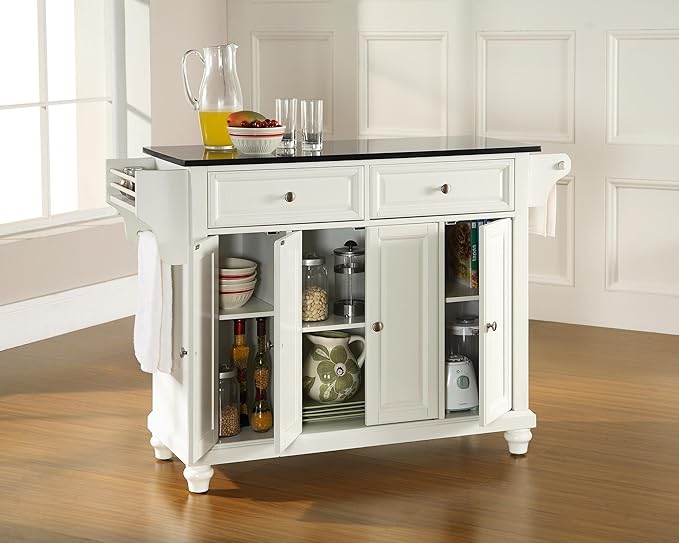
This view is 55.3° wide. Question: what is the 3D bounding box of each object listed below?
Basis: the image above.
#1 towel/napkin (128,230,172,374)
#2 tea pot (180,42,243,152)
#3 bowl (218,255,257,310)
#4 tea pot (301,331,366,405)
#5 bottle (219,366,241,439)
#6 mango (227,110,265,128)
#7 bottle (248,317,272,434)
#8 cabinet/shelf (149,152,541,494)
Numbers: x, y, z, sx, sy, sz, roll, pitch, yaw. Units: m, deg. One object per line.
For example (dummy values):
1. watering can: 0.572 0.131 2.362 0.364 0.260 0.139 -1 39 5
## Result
1. towel/napkin: -0.614 0.101 2.116 0.101 0.453 0.309 -7 13 -33
2. tea pot: -0.444 -0.620 2.287 0.197 0.369 0.349 -3 11 -13
3. bowl: -0.352 0.040 2.247 0.145 0.118 0.163 0 9 2
4. tea pot: -0.021 0.351 2.414 0.274 0.261 0.216 2 6 -19
5. bottle: -0.372 0.429 2.177 0.060 0.228 0.130 0 11 0
6. mango: -0.317 -0.511 2.168 0.138 0.055 0.116 0 11 1
7. bottle: -0.281 0.334 2.263 0.078 0.382 0.241 -2 11 -8
8. cabinet/shelf: 0.051 0.136 2.291 1.425 1.072 0.733 -3 5 -13
